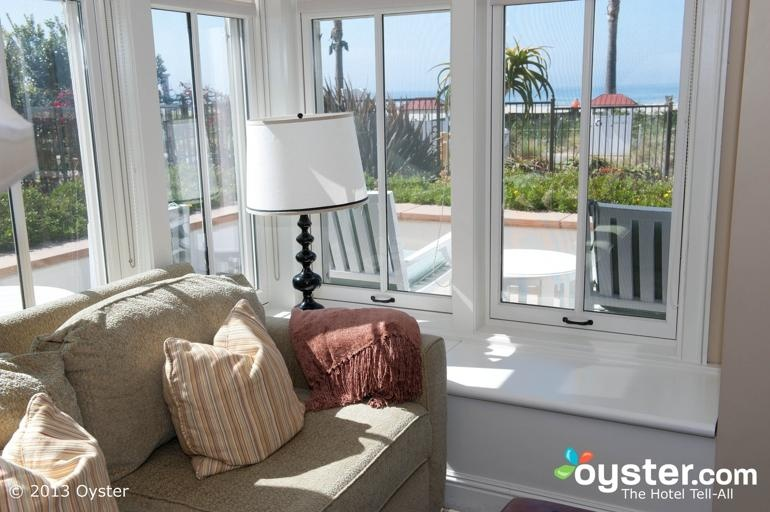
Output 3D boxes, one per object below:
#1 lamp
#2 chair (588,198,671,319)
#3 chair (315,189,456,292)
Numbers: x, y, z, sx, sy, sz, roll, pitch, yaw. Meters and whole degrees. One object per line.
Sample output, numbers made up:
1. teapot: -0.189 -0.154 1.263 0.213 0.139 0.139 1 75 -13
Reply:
1. lamp: -0.438 -0.326 2.993 0.571 0.937 0.615 -4 37 -9
2. chair: 1.300 -0.028 3.096 0.426 0.578 0.332 10 25 35
3. chair: 0.034 -0.095 3.695 0.631 0.921 0.632 4 14 22
